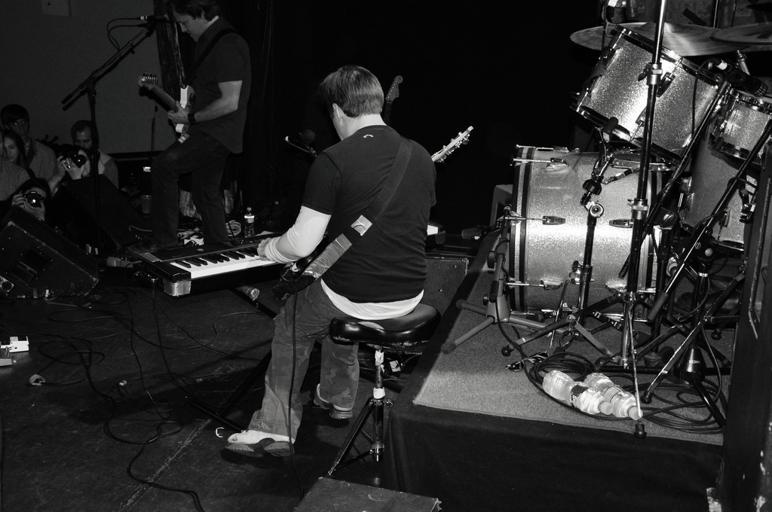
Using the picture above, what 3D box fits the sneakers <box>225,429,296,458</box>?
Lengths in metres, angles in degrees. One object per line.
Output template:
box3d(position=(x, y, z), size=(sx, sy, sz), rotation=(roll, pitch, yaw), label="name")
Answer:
box3d(position=(-0.739, 1.097, 4.073), size=(0.357, 0.162, 0.165), rotation=(6, 53, 5), label="sneakers")

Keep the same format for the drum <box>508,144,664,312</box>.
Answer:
box3d(position=(1.352, -0.203, 5.045), size=(0.979, 1.175, 1.113), rotation=(4, 1, 9), label="drum")

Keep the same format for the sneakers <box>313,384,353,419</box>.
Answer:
box3d(position=(-0.362, 0.986, 4.612), size=(0.136, 0.155, 0.347), rotation=(-2, 13, -23), label="sneakers")

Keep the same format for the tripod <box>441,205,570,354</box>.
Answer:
box3d(position=(0.843, 0.201, 4.730), size=(0.707, 0.851, 0.865), rotation=(-12, 19, -26), label="tripod")

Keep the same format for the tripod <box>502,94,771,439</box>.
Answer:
box3d(position=(1.343, -0.004, 4.480), size=(1.885, 1.676, 1.936), rotation=(4, 5, 11), label="tripod")

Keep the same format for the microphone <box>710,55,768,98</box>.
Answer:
box3d(position=(2.139, -1.081, 4.142), size=(0.336, 0.203, 0.190), rotation=(11, 17, 23), label="microphone")

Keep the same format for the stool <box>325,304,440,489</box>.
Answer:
box3d(position=(-0.028, 0.828, 3.976), size=(0.745, 1.022, 0.731), rotation=(11, 19, 10), label="stool")

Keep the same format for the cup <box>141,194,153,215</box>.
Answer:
box3d(position=(-2.562, -0.546, 7.316), size=(0.079, 0.192, 0.180), rotation=(-5, 18, -31), label="cup")

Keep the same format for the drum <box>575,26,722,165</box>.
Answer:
box3d(position=(1.662, -0.966, 4.512), size=(0.784, 0.553, 0.780), rotation=(34, -2, 1), label="drum")
